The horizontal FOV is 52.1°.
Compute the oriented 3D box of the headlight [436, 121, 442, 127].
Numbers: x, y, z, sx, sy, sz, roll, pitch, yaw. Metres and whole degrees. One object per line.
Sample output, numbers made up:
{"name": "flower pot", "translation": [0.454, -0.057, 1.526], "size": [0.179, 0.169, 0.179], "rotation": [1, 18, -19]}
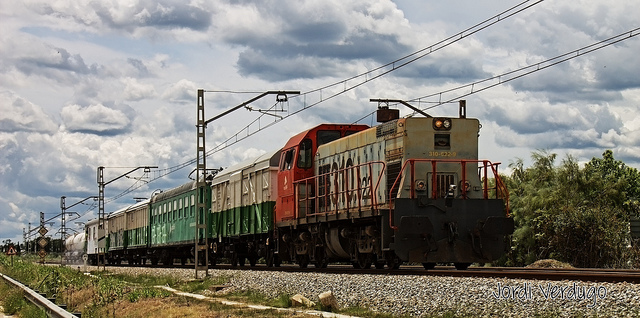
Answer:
{"name": "headlight", "translation": [6.732, -2.033, 37.267], "size": [0.349, 0.286, 0.138], "rotation": [5, -19, -24]}
